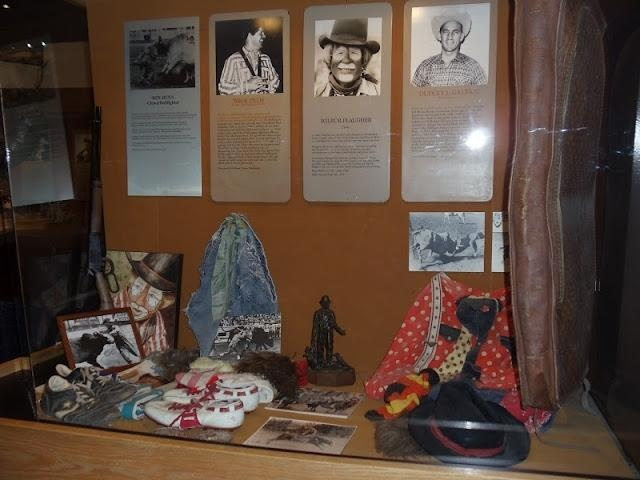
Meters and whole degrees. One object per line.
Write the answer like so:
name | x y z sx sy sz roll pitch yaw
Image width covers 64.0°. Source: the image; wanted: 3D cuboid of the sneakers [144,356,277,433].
sneakers | -0.422 0.596 1.961 0.264 0.097 0.242 5 12 9

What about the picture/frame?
picture/frame | -0.959 0.442 2.186 0.282 0.289 0.012 -4 -24 -34
